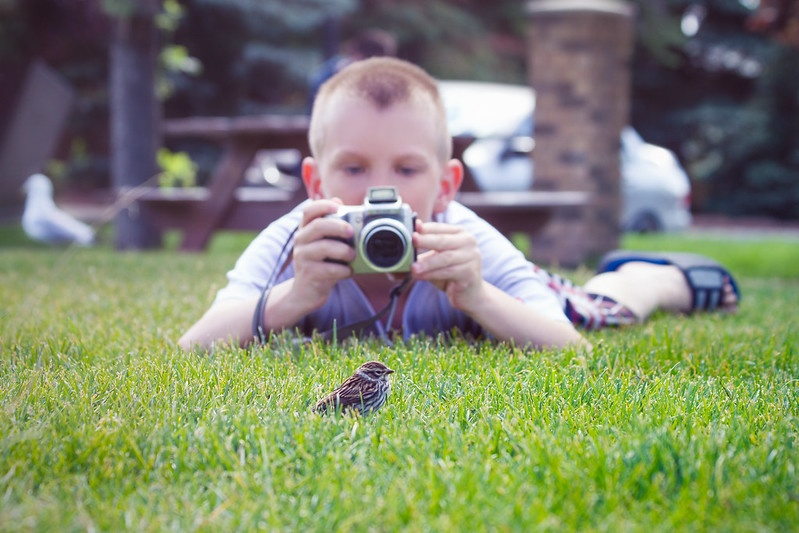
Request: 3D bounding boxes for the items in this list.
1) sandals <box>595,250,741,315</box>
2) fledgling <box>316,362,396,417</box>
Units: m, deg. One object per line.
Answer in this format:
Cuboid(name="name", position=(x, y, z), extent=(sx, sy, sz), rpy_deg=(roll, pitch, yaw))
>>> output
Cuboid(name="sandals", position=(1.563, 0.063, 4.375), extent=(0.628, 0.227, 0.369), rpy_deg=(0, 9, 7))
Cuboid(name="fledgling", position=(-0.170, 0.436, 2.775), extent=(0.274, 0.209, 0.161), rpy_deg=(-1, -2, -11))
